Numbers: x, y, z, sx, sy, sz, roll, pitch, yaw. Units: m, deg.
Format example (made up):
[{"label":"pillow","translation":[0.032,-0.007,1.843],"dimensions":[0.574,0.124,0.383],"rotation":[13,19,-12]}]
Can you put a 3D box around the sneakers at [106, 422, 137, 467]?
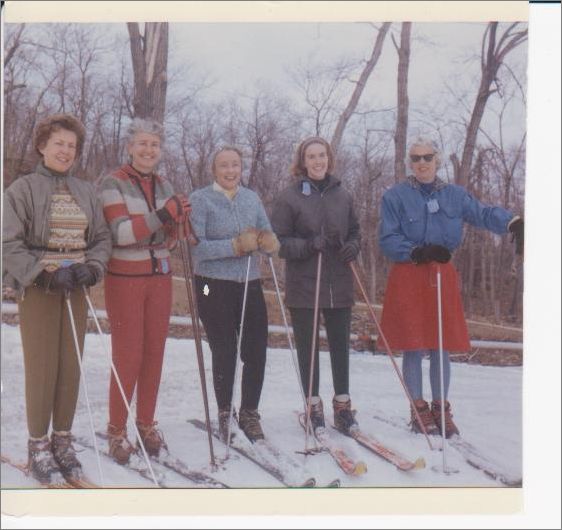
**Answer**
[{"label":"sneakers","translation":[-1.046,1.153,4.306],"dimensions":[0.288,0.220,0.109],"rotation":[17,12,35]}]

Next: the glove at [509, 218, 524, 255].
[{"label":"glove","translation":[1.581,-0.190,4.457],"dimensions":[0.135,0.252,0.063],"rotation":[-2,3,-25]}]

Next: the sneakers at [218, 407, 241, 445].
[{"label":"sneakers","translation":[-0.339,1.050,4.364],"dimensions":[0.080,0.257,0.103],"rotation":[-4,-8,-9]}]

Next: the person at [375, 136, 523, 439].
[{"label":"person","translation":[1.070,0.162,4.449],"dimensions":[0.810,1.973,0.271],"rotation":[-1,2,7]}]

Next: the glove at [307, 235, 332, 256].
[{"label":"glove","translation":[0.258,-0.136,4.386],"dimensions":[0.164,0.123,0.088],"rotation":[-2,2,-5]}]

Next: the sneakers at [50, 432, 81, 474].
[{"label":"sneakers","translation":[-1.371,1.194,4.219],"dimensions":[0.268,0.205,0.146],"rotation":[16,5,36]}]

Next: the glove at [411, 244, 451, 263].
[{"label":"glove","translation":[0.986,-0.068,4.404],"dimensions":[0.249,0.115,0.062],"rotation":[-1,2,14]}]

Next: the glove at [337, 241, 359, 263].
[{"label":"glove","translation":[0.457,-0.083,4.429],"dimensions":[0.142,0.136,0.065],"rotation":[-3,3,-34]}]

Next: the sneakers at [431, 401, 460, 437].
[{"label":"sneakers","translation":[1.123,1.026,4.563],"dimensions":[0.089,0.185,0.255],"rotation":[-8,-3,15]}]

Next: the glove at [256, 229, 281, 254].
[{"label":"glove","translation":[-0.087,-0.145,4.386],"dimensions":[0.114,0.158,0.055],"rotation":[-26,-5,-30]}]

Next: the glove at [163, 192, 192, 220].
[{"label":"glove","translation":[-0.652,-0.361,4.244],"dimensions":[0.128,0.176,0.212],"rotation":[-1,3,13]}]

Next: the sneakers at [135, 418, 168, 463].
[{"label":"sneakers","translation":[-0.835,1.128,4.310],"dimensions":[0.299,0.222,0.126],"rotation":[7,5,28]}]

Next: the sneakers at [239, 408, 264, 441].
[{"label":"sneakers","translation":[-0.206,1.047,4.415],"dimensions":[0.100,0.265,0.110],"rotation":[-16,-28,-15]}]

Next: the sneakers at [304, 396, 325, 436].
[{"label":"sneakers","translation":[0.220,0.999,4.428],"dimensions":[0.089,0.288,0.117],"rotation":[-5,-16,-1]}]

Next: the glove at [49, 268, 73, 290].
[{"label":"glove","translation":[-1.309,0.085,3.991],"dimensions":[0.130,0.139,0.107],"rotation":[-1,-4,20]}]

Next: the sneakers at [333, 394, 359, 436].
[{"label":"sneakers","translation":[0.417,0.992,4.429],"dimensions":[0.104,0.142,0.297],"rotation":[-5,19,-19]}]

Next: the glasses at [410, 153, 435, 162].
[{"label":"glasses","translation":[0.950,-0.706,4.485],"dimensions":[0.156,0.055,0.025],"rotation":[-1,2,9]}]
